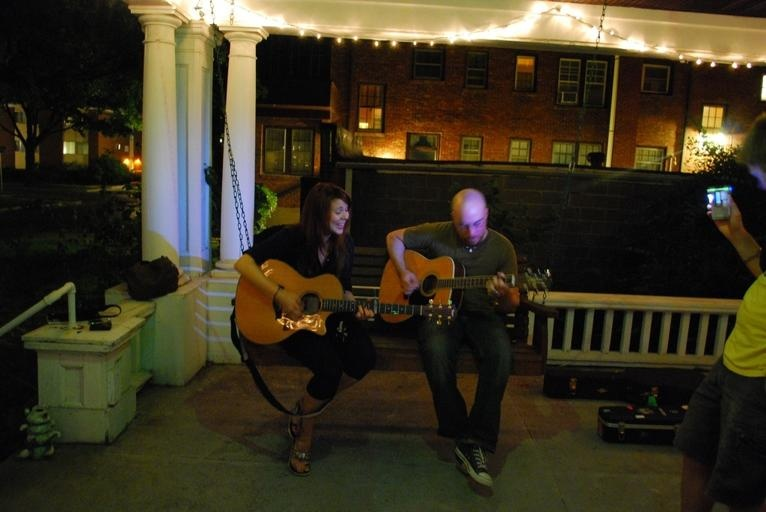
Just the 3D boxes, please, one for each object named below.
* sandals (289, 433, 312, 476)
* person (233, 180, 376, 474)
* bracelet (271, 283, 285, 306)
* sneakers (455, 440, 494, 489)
[{"bbox_3d":[-0.756,1.737,5.981,0.203,0.205,0.593,-6,19,0],"label":"sandals"},{"bbox_3d":[-0.653,0.624,5.967,1.188,2.544,0.633,2,8,-2],"label":"person"},{"bbox_3d":[-0.936,0.342,5.832,0.175,0.212,0.090,-1,6,-16],"label":"bracelet"},{"bbox_3d":[0.808,1.796,5.774,0.187,0.300,0.363,-3,11,-31],"label":"sneakers"}]
